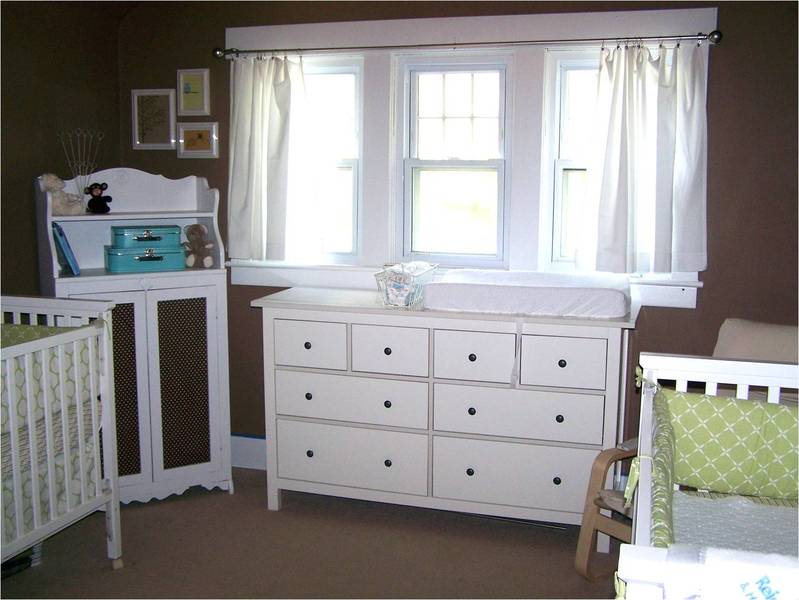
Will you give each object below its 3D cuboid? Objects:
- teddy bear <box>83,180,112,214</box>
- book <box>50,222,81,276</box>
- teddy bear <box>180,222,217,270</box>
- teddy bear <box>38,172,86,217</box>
[{"bbox_3d":[-1.678,-0.572,3.701,0.140,0.168,0.183,-4,13,-23],"label":"teddy bear"},{"bbox_3d":[-1.761,-0.265,3.493,0.053,0.241,0.223,-16,26,-25],"label":"book"},{"bbox_3d":[-1.198,-0.328,3.894,0.200,0.287,0.148,-11,36,-37],"label":"teddy bear"},{"bbox_3d":[-1.788,-0.560,3.528,0.186,0.234,0.146,-2,18,4],"label":"teddy bear"}]
